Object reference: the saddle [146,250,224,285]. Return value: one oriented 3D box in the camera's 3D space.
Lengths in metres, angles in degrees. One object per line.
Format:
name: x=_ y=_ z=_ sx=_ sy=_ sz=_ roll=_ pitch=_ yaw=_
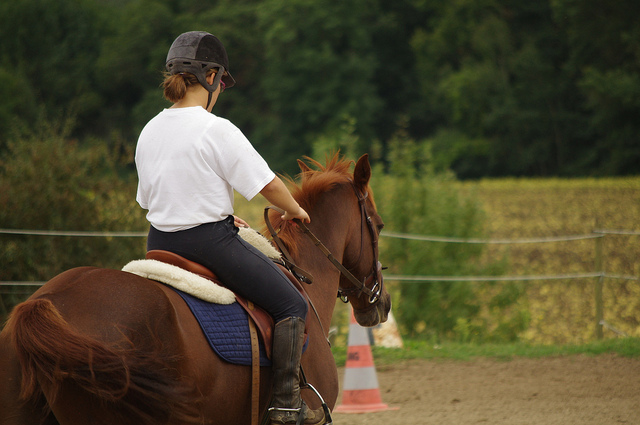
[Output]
saddle: x=-1.992 y=0.774 z=17.159 sx=0.697 sy=0.269 sz=0.540 roll=28 pitch=14 yaw=-34
